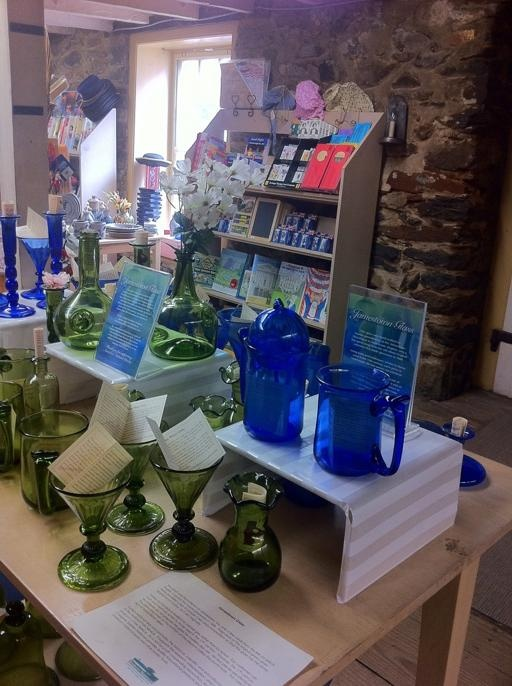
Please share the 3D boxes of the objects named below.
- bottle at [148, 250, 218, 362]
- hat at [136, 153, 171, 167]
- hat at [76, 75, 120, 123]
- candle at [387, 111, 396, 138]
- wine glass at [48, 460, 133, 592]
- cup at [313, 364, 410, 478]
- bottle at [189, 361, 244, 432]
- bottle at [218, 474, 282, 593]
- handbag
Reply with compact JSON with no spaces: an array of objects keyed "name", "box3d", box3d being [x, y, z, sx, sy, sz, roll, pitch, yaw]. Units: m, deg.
[{"name":"bottle","box3d":[-0.179,-0.101,1.266,0.177,0.255,0.165,4,15,-1]},{"name":"hat","box3d":[-0.975,-1.762,4.900,0.261,0.121,0.232,-3,13,-22]},{"name":"hat","box3d":[-1.733,-2.702,5.705,0.446,0.515,0.220,-1,13,-15]},{"name":"candle","box3d":[0.878,-1.402,3.301,0.046,0.180,0.098,5,13,12]},{"name":"wine glass","box3d":[-0.240,0.265,0.758,0.109,0.165,0.111,-3,13,-22]},{"name":"cup","box3d":[0.161,0.125,0.743,0.097,0.137,0.150,-8,15,-31]},{"name":"bottle","box3d":[-0.071,0.101,1.104,0.132,0.128,0.104,-18,29,-35]},{"name":"bottle","box3d":[-0.007,0.280,0.748,0.095,0.159,0.087,2,12,-1]},{"name":"handbag","box3d":[0.381,-1.707,3.725,0.949,0.292,0.278,11,40,28]}]
